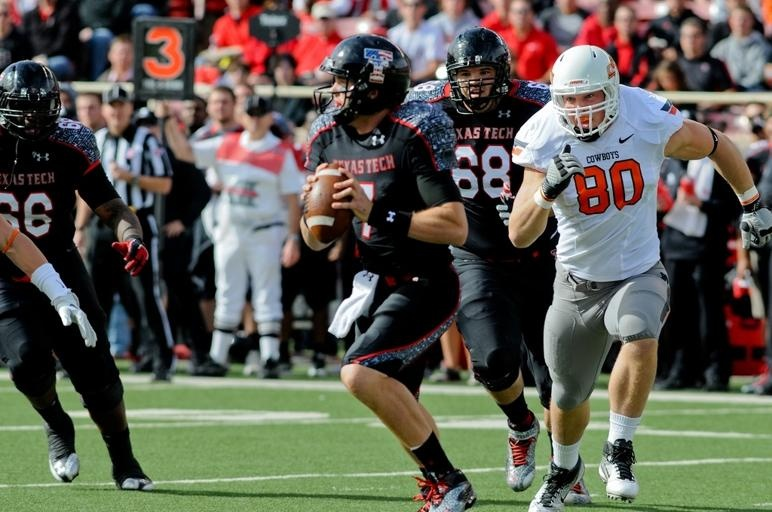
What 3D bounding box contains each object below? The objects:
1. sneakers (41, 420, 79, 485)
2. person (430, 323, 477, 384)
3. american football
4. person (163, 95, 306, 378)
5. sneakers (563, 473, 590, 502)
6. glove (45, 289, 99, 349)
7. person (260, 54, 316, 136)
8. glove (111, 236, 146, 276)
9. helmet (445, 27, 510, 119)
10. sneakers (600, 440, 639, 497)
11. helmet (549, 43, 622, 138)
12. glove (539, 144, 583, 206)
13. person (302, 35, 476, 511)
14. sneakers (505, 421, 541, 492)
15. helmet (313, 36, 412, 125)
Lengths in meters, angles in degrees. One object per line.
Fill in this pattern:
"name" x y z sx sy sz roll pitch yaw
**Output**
"sneakers" -2.067 1.256 6.130 0.177 0.129 0.402 -5 42 -9
"person" 0.736 1.037 10.438 0.333 0.225 0.901 -19 37 8
"american football" -0.333 -0.302 5.458 0.251 0.400 0.274 18 11 7
"person" -1.481 -0.189 9.900 1.231 2.886 0.576 1 2 -4
"sneakers" 1.162 1.422 5.828 0.109 0.189 0.283 -9 -17 28
"glove" -1.836 0.347 5.738 0.273 0.162 0.504 12 6 -30
"person" -1.154 -1.926 11.336 0.327 0.868 0.646 0 3 -11
"glove" -1.555 0.005 5.860 0.196 0.223 0.267 0 2 -17
"helmet" 0.609 -1.253 6.388 0.415 0.507 0.544 -1 14 13
"sneakers" 1.319 1.224 5.497 0.201 0.383 0.251 1 2 12
"helmet" 1.154 -0.982 5.613 0.399 0.485 0.521 -4 19 19
"glove" 0.928 -0.442 5.307 0.278 0.192 0.129 -35 23 5
"person" 0.025 0.083 5.468 0.991 2.716 0.536 1 2 4
"sneakers" 0.864 1.277 6.141 0.158 0.452 0.203 1 -17 20
"helmet" -0.123 -1.050 5.635 0.612 0.486 0.491 -2 18 -5
